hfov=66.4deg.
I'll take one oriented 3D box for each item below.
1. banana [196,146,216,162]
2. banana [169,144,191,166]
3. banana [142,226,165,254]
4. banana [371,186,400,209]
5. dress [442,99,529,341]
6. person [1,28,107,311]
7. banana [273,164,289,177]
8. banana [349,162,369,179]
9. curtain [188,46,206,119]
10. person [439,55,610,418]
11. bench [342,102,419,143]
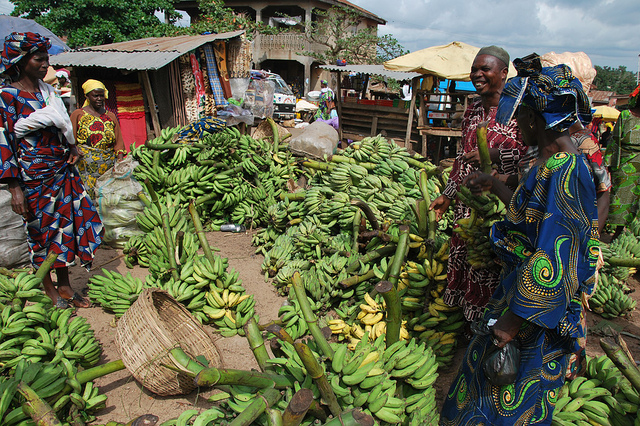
[{"bbox_3d":[-1.591,-0.841,6.920,0.288,0.092,0.163,-35,54,-25],"label":"banana"},{"bbox_3d":[-1.976,-0.818,6.884,0.191,0.069,0.307,-40,31,15],"label":"banana"},{"bbox_3d":[-1.942,0.322,5.749,0.147,0.233,0.280,26,8,-28],"label":"banana"},{"bbox_3d":[0.772,-0.177,5.794,0.316,0.213,0.193,2,17,6],"label":"banana"},{"bbox_3d":[1.453,0.051,4.758,0.784,2.095,0.932,1,1,15],"label":"dress"},{"bbox_3d":[-2.901,-0.437,5.313,0.838,2.834,1.391,-8,19,-24],"label":"person"},{"bbox_3d":[-0.575,-0.623,7.152,0.163,0.064,0.166,28,27,17],"label":"banana"},{"bbox_3d":[0.461,-0.512,5.973,0.133,0.075,0.219,-42,45,-12],"label":"banana"},{"bbox_3d":[-2.538,-2.731,10.193,0.266,1.372,0.359,-3,17,-9],"label":"curtain"},{"bbox_3d":[1.479,0.314,3.463,0.958,2.561,0.634,-7,18,-21],"label":"person"},{"bbox_3d":[1.551,-2.664,14.337,0.372,0.962,2.875,-12,21,-34],"label":"bench"}]
